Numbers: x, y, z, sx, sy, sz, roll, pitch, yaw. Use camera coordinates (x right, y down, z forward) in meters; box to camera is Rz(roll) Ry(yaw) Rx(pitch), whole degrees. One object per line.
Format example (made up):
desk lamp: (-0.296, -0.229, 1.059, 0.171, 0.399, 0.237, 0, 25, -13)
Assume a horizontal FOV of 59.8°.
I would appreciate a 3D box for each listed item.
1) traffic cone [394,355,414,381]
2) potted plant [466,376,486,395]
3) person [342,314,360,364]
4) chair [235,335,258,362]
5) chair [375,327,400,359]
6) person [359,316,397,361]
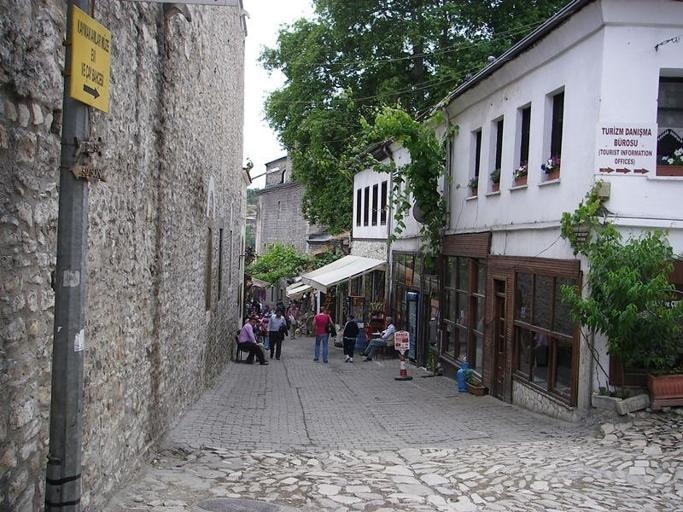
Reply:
traffic cone: (1.937, 3.371, 18.090, 0.596, 0.818, 0.647, 1, -7, -21)
potted plant: (3.335, 3.227, 14.828, 0.385, 0.269, 0.820, 0, -2, -6)
person: (0.329, 3.076, 22.439, 0.506, 1.713, 0.962, 0, -2, 0)
chair: (-3.402, 3.271, 21.225, 0.706, 1.609, 0.514, -7, 19, -12)
chair: (1.693, 3.322, 22.677, 0.984, 1.789, 1.057, 1, -1, 9)
person: (1.391, 3.121, 22.641, 1.012, 1.671, 2.364, 1, -3, -2)
